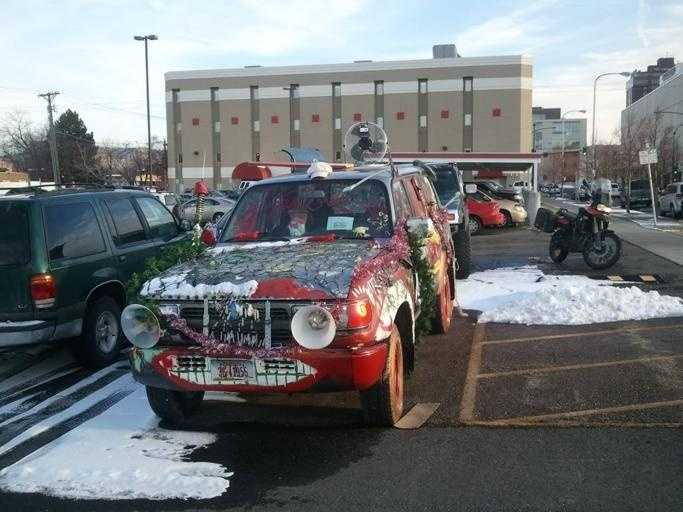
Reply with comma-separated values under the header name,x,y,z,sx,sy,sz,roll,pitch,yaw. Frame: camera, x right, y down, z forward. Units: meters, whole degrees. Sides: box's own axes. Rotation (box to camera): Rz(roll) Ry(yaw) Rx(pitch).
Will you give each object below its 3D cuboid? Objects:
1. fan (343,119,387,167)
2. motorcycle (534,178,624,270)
name,x,y,z,sx,sy,sz,roll,pitch,yaw
fan,0.468,-2.116,10.814,0.944,1.075,0.572,-4,-13,3
motorcycle,5.744,-0.755,13.433,1.122,2.043,2.618,10,2,-14
